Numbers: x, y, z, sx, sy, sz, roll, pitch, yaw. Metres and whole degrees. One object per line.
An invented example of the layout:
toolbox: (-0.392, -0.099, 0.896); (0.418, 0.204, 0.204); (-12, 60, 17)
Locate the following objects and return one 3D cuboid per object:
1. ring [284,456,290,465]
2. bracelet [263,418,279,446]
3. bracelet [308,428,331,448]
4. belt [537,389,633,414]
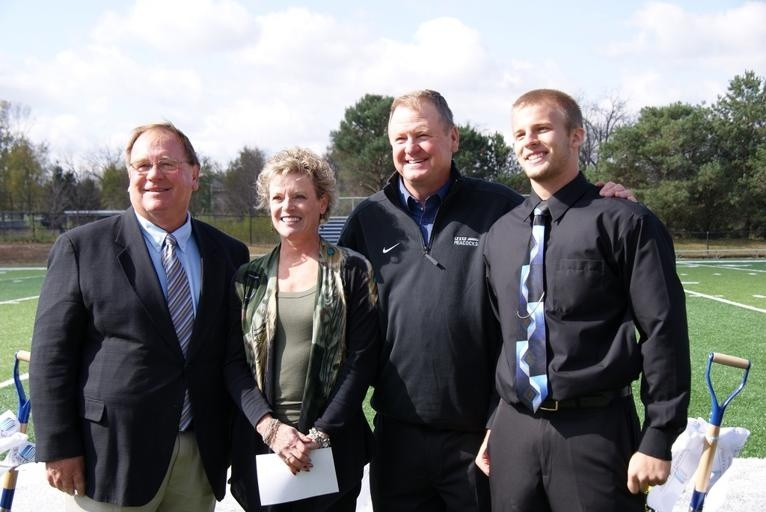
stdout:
ring: (-0.588, 1.261, 3.784); (0.029, 0.038, 0.014); (-11, 7, 14)
bracelet: (-0.695, 1.101, 3.840); (0.046, 0.138, 0.124); (22, -25, -27)
bracelet: (-0.394, 1.145, 3.854); (0.124, 0.067, 0.099); (32, -4, 11)
belt: (1.209, 0.885, 3.725); (0.255, 0.070, 0.238); (-5, -4, -8)
